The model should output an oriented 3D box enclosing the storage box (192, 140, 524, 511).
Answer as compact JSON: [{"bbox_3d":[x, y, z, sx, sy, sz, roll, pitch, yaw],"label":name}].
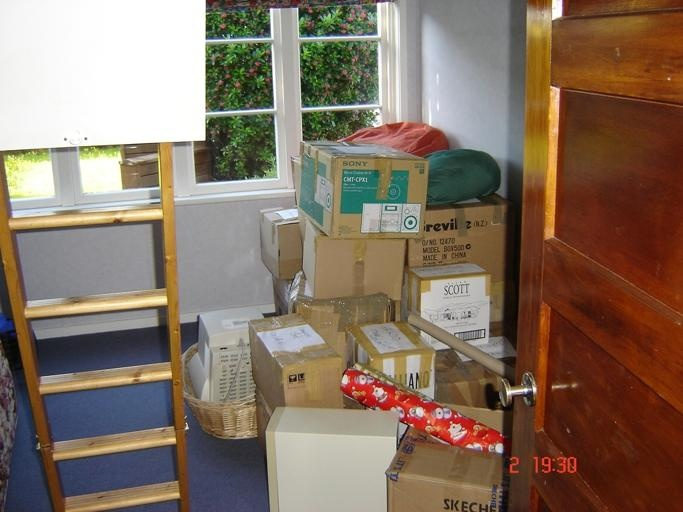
[{"bbox_3d":[-0.056,0.374,3.470,1.906,1.444,1.074,1,25,-4],"label":"storage box"}]

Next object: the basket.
[{"bbox_3d":[-0.558,0.656,2.690,0.424,0.209,0.496,-1,6,-17],"label":"basket"}]
